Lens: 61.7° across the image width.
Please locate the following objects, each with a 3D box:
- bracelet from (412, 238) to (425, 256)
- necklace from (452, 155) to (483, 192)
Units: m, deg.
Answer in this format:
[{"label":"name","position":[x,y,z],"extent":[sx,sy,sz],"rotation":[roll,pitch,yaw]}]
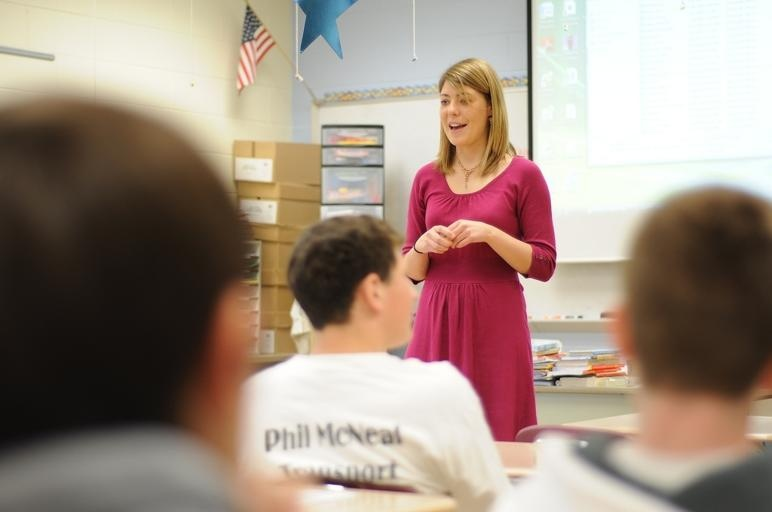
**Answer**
[{"label":"bracelet","position":[0.085,-0.021,1.667],"extent":[0.032,0.039,0.014],"rotation":[-2,-14,1]},{"label":"necklace","position":[0.214,-0.219,1.723],"extent":[0.057,0.093,0.013],"rotation":[5,-6,22]}]
